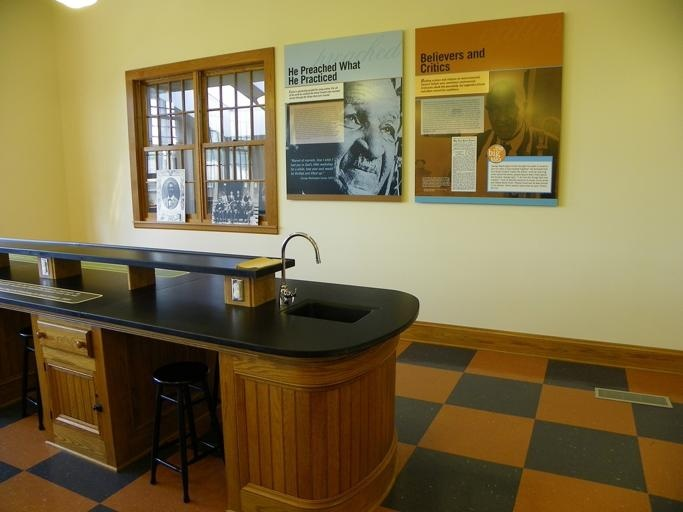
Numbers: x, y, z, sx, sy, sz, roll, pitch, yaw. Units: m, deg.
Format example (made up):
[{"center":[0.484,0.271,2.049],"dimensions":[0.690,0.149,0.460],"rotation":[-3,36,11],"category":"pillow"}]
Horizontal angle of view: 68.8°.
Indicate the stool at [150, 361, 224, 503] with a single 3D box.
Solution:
[{"center":[-1.075,1.183,3.418],"dimensions":[0.410,0.742,0.425],"rotation":[-3,0,25],"category":"stool"}]
